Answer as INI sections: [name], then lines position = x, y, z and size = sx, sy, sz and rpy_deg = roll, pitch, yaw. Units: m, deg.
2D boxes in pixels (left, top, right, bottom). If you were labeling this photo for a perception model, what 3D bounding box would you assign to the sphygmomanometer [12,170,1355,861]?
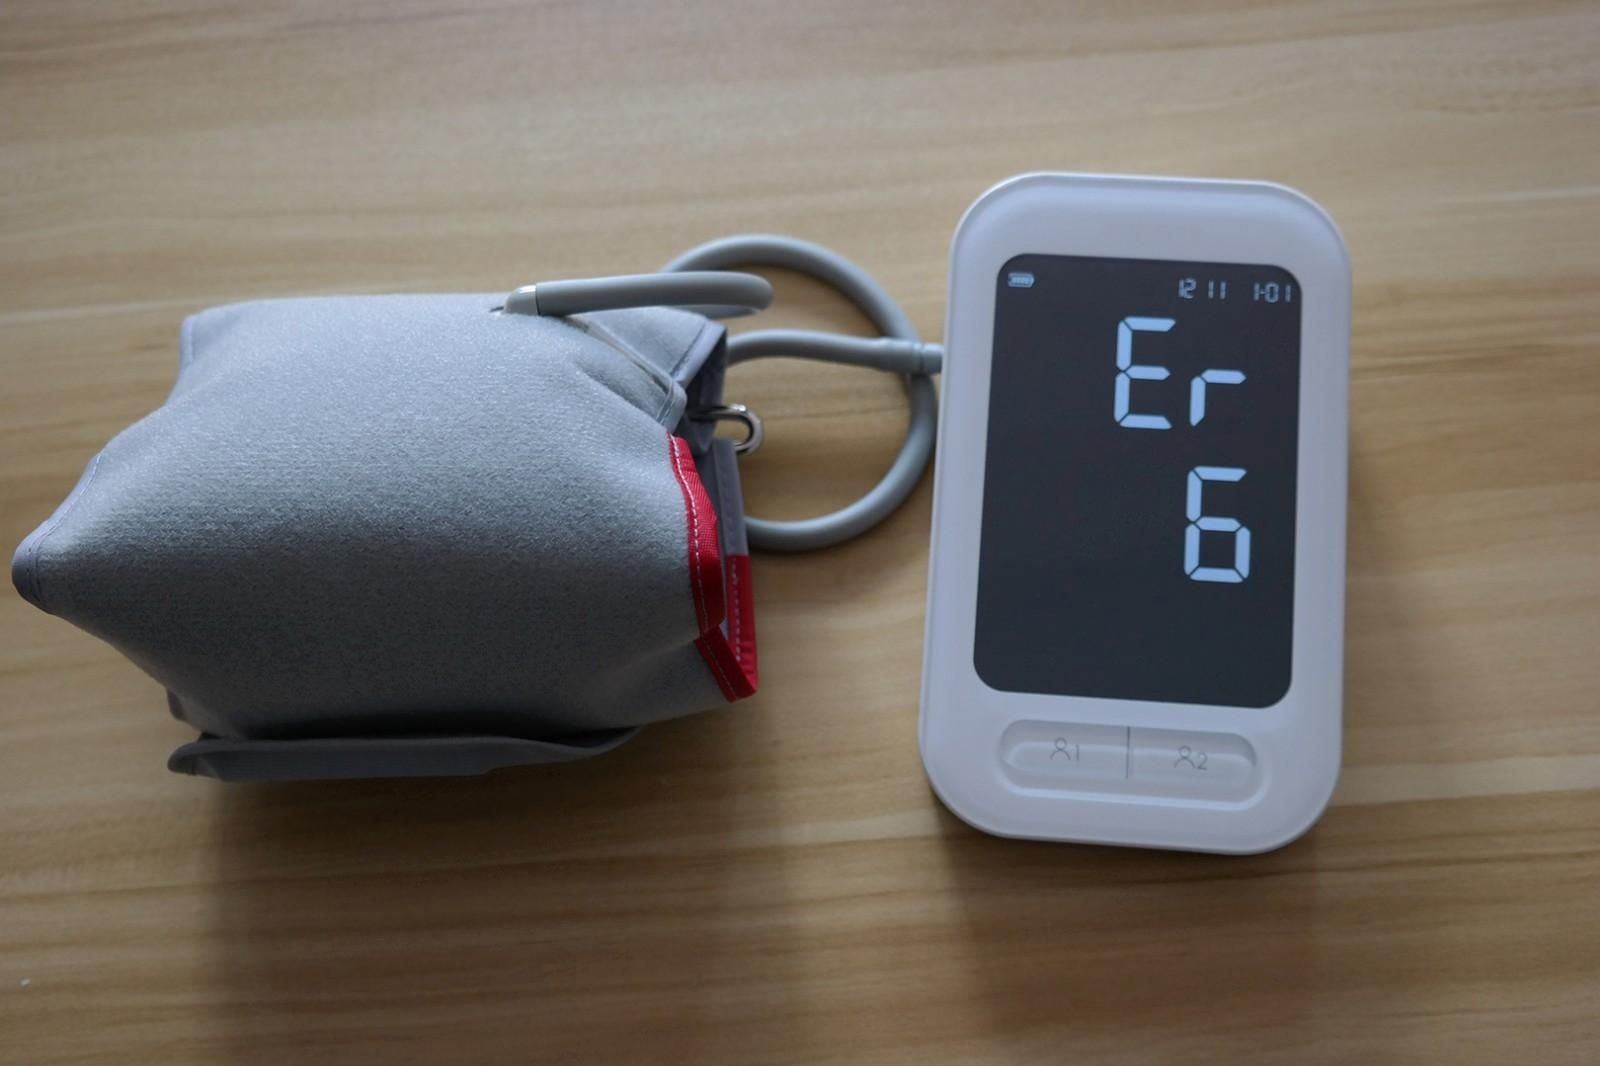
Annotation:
[sphygmomanometer]
position = -0.048, -0.005, 1.518
size = 0.944, 0.228, 0.532
rpy_deg = -6, 69, 2
